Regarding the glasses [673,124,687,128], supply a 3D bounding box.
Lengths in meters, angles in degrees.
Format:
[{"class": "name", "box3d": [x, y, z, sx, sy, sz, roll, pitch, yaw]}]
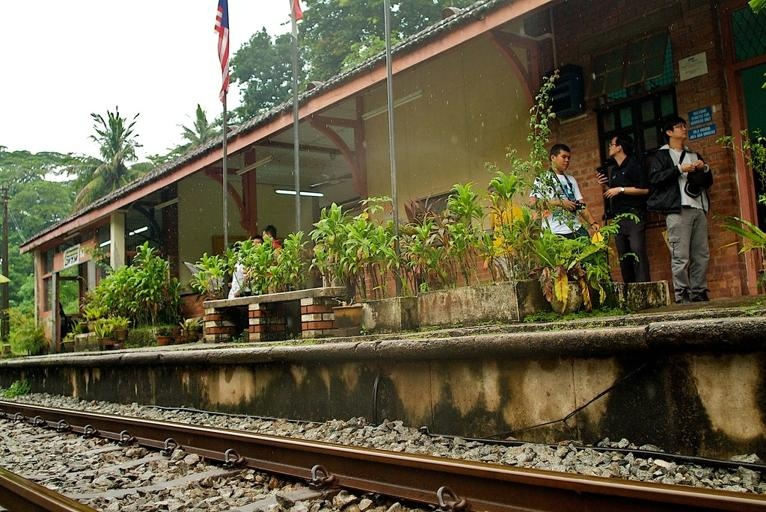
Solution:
[{"class": "glasses", "box3d": [4.084, -1.802, 10.306, 0.102, 0.035, 0.109, -1, 2, 5]}]

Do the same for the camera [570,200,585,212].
[{"class": "camera", "box3d": [2.653, -0.679, 10.073, 0.115, 0.170, 0.324, 8, 8, 38]}]

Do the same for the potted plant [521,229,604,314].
[{"class": "potted plant", "box3d": [2.346, 0.183, 9.374, 0.952, 1.061, 0.334, -4, -6, -5]}]

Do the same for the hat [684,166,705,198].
[{"class": "hat", "box3d": [4.172, -0.974, 10.001, 0.233, 0.363, 0.098, 4, 7, 0]}]

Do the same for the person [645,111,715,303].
[{"class": "person", "box3d": [4.037, -0.649, 10.094, 0.820, 2.543, 0.501, -5, -6, 8]}]

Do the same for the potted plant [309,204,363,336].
[{"class": "potted plant", "box3d": [-0.647, 0.163, 11.569, 0.664, 1.858, 0.883, -10, 5, -41]}]

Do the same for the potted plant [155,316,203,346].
[{"class": "potted plant", "box3d": [-4.341, 1.622, 15.956, 0.993, 0.517, 0.823, -3, -7, -19]}]

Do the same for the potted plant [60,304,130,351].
[{"class": "potted plant", "box3d": [-6.944, 1.909, 17.772, 1.701, 1.183, 1.690, 3, -7, -20]}]
